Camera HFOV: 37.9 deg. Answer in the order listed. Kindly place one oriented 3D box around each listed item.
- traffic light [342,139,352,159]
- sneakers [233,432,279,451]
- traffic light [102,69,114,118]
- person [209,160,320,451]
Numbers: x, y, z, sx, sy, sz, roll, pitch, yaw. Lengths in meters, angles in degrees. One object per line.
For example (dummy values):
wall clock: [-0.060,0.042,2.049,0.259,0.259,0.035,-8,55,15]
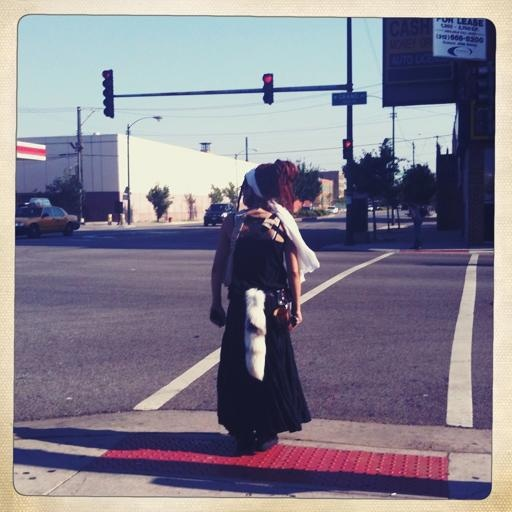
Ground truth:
traffic light: [2.931,-3.447,23.988,0.274,0.610,0.517,1,3,11]
sneakers: [-0.002,1.326,5.366,0.220,0.096,0.161,0,0,-11]
traffic light: [-4.355,-4.757,21.844,0.312,1.480,0.063,-9,32,-22]
person: [0.046,0.359,5.379,0.737,2.111,0.358,0,2,-6]
